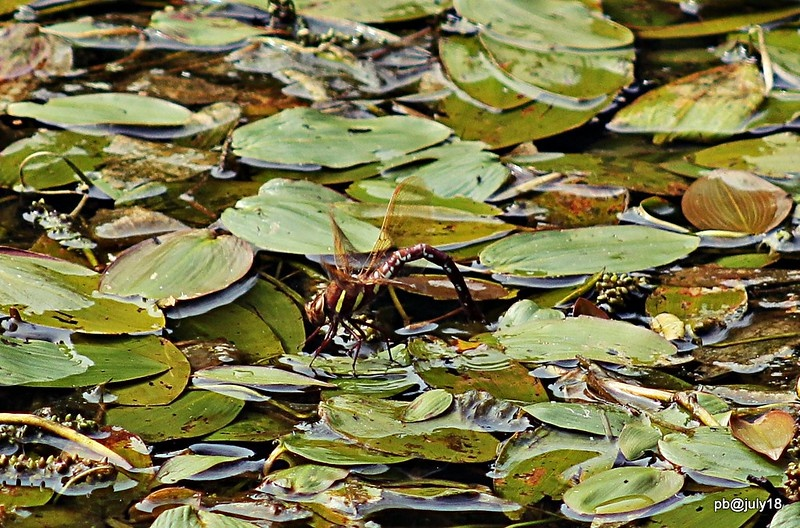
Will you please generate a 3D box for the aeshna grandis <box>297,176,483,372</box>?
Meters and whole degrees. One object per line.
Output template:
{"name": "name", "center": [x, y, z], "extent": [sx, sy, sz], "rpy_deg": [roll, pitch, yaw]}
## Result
{"name": "aeshna grandis", "center": [-0.043, 0.079, 3.760], "extent": [0.668, 0.683, 0.396], "rpy_deg": [-16, 91, -19]}
